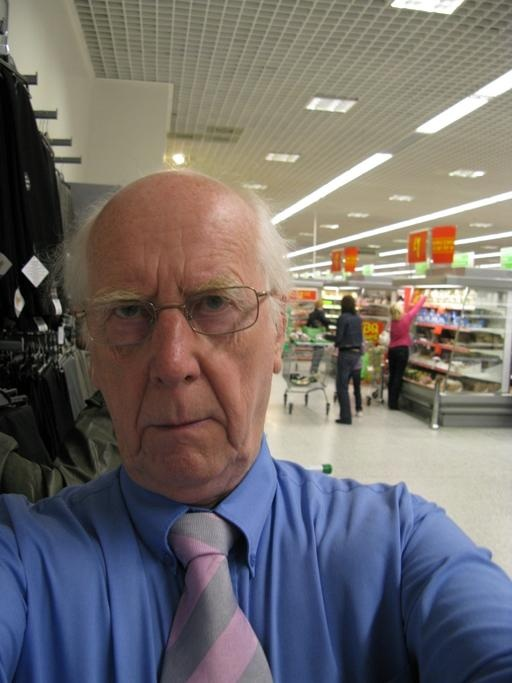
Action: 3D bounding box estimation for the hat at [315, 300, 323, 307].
[{"bbox_3d":[1.378,-0.810,10.087,0.116,0.143,0.140,-17,15,9],"label":"hat"}]
